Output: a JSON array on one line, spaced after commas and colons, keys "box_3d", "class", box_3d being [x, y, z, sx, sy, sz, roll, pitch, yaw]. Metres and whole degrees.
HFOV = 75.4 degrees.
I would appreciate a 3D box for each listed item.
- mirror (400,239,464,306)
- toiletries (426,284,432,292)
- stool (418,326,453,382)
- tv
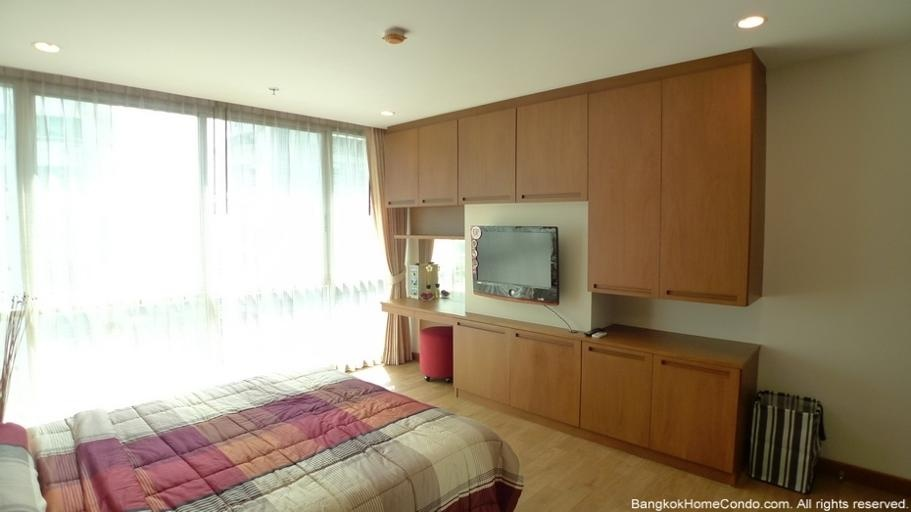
[{"box_3d": [-0.290, 0.239, 7.534, 0.813, 0.671, 0.255, 1, -3, -26], "class": "mirror"}, {"box_3d": [-0.324, 0.418, 7.552, 0.077, 0.080, 0.075, 2, 4, 24], "class": "toiletries"}, {"box_3d": [-0.227, 1.213, 7.175, 0.632, 0.631, 0.598, 3, 2, 5], "class": "stool"}, {"box_3d": [0.611, 0.063, 6.408, 1.157, 0.800, 0.098, 3, -8, -29], "class": "tv"}]
